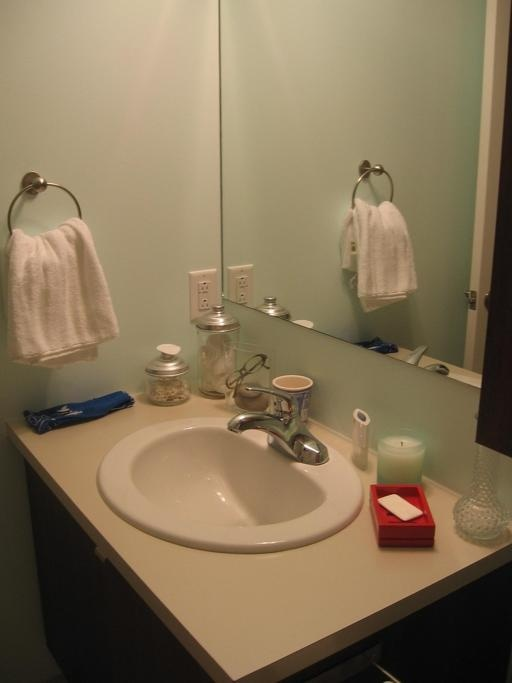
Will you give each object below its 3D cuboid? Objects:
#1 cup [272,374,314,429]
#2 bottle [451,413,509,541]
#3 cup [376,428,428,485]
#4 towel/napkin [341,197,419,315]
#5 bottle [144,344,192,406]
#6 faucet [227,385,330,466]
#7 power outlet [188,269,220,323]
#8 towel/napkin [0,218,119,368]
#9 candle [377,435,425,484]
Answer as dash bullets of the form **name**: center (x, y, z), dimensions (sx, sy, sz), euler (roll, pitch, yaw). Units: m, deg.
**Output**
- **cup**: center (0.082, 0.114, 1.140), dimensions (0.090, 0.109, 0.097), euler (-1, 25, 0)
- **bottle**: center (0.348, 0.210, 0.831), dimensions (0.083, 0.145, 0.151), euler (5, 15, 22)
- **cup**: center (0.239, 0.193, 0.928), dimensions (0.073, 0.087, 0.077), euler (-1, 16, 0)
- **towel/napkin**: center (0.217, -0.151, 0.981), dimensions (0.129, 0.185, 0.076), euler (-6, -7, 19)
- **bottle**: center (-0.219, 0.088, 1.325), dimensions (0.092, 0.139, 0.098), euler (1, 22, -1)
- **faucet**: center (0.051, 0.150, 1.011), dimensions (0.186, 0.123, 0.107), euler (5, 7, -38)
- **power outlet**: center (-0.140, -0.120, 1.442), dimensions (0.016, 0.163, 0.113), euler (18, 26, 41)
- **towel/napkin**: center (-0.397, -0.109, 1.078), dimensions (0.215, 0.288, 0.090), euler (-19, 21, -37)
- **candle**: center (0.248, 0.206, 0.970), dimensions (0.072, 0.086, 0.076), euler (0, 16, 3)
